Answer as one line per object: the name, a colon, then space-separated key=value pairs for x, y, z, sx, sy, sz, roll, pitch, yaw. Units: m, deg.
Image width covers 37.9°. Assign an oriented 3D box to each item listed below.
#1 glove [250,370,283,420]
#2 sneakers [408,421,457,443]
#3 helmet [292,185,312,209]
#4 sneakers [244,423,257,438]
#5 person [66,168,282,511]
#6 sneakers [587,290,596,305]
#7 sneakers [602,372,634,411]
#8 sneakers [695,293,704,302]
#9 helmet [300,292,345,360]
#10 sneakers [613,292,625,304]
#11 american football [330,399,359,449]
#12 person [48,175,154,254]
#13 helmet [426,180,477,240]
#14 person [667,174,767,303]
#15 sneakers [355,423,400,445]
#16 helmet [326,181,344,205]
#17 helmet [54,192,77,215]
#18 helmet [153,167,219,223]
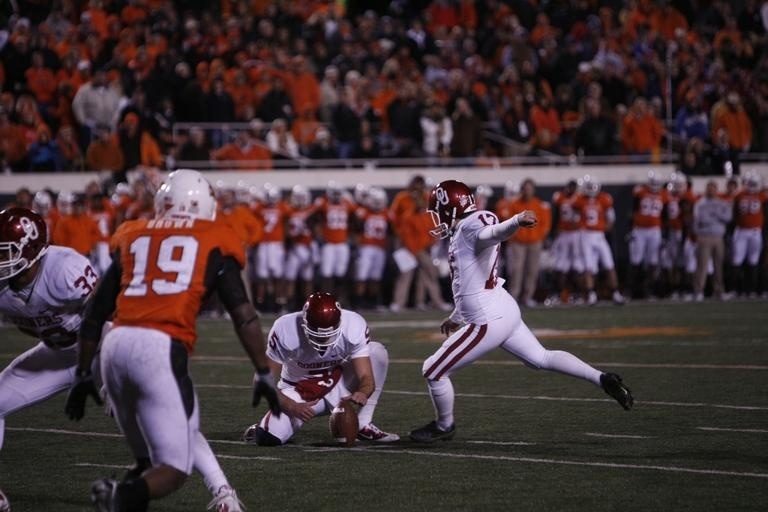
glove: x=-0.935 y=1.111 z=9.037 sx=0.210 sy=0.367 sz=0.107 roll=1 pitch=19 yaw=-3
sneakers: x=0.449 y=1.664 z=10.507 sx=0.439 sy=0.218 sz=0.173 roll=5 pitch=6 yaw=-6
helmet: x=-1.293 y=-0.925 z=17.611 sx=0.297 sy=0.304 sz=0.320 roll=0 pitch=2 yaw=-4
sneakers: x=-1.247 y=1.669 z=10.520 sx=0.056 sy=0.156 sz=0.116 roll=14 pitch=3 yaw=-14
person: x=-1.740 y=0.676 z=9.046 sx=1.499 sy=2.750 sz=0.777 roll=-1 pitch=1 yaw=-17
sneakers: x=3.254 y=0.658 z=17.592 sx=0.159 sy=0.252 sz=0.135 roll=15 pitch=-25 yaw=-41
sneakers: x=2.186 y=1.273 z=10.408 sx=0.196 sy=0.457 sz=0.190 roll=-17 pitch=34 yaw=28
sneakers: x=4.856 y=0.640 z=17.238 sx=0.122 sy=0.120 sz=0.124 roll=-5 pitch=-10 yaw=41
helmet: x=-0.586 y=0.653 z=10.293 sx=0.367 sy=0.517 sz=0.425 roll=1 pitch=-39 yaw=-9
sneakers: x=3.640 y=0.657 z=17.473 sx=0.176 sy=0.098 sz=0.176 roll=13 pitch=11 yaw=-25
american football: x=-0.329 y=1.553 z=10.372 sx=0.253 sy=0.403 sz=0.269 roll=8 pitch=-21 yaw=-16
person: x=-3.987 y=-0.580 z=15.889 sx=1.239 sy=0.451 sz=0.406 roll=-24 pitch=19 yaw=-21
helmet: x=0.671 y=-0.473 z=10.879 sx=0.536 sy=0.585 sz=0.477 roll=-10 pitch=3 yaw=8
person: x=5.306 y=-0.291 z=17.254 sx=1.145 sy=1.915 sz=0.693 roll=-1 pitch=1 yaw=4
sneakers: x=-0.059 y=1.679 z=10.616 sx=0.471 sy=0.192 sz=0.162 roll=2 pitch=6 yaw=3
helmet: x=-0.768 y=-0.995 z=17.529 sx=0.260 sy=0.347 sz=0.242 roll=-1 pitch=1 yaw=-3
helmet: x=-4.987 y=-0.843 z=17.535 sx=0.109 sy=0.335 sz=0.290 roll=26 pitch=22 yaw=34
helmet: x=-1.607 y=-0.477 z=9.107 sx=0.366 sy=0.418 sz=0.475 roll=4 pitch=35 yaw=-6
